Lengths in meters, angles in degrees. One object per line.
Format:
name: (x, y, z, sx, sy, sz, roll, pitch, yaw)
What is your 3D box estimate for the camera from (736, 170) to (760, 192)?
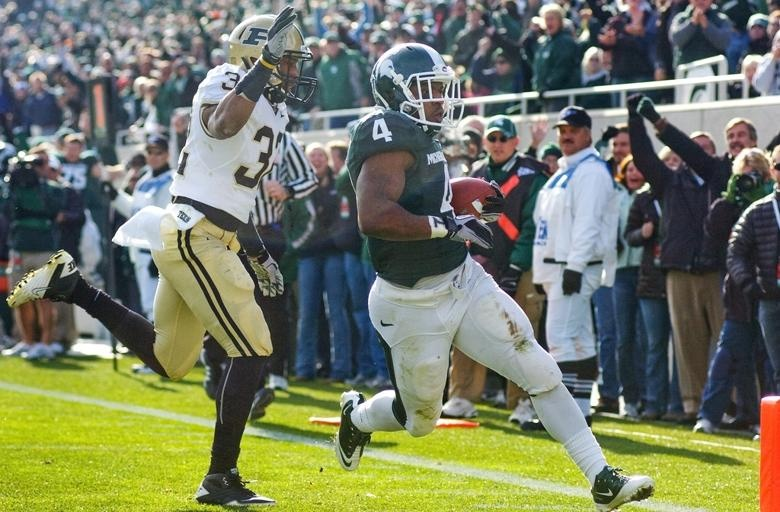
camera: (3.445, -0.728, 12.229, 0.267, 0.198, 0.205, 3, -1, -5)

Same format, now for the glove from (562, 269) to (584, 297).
glove: (1.738, 0.244, 12.183, 0.266, 0.236, 0.081, 2, 8, 7)

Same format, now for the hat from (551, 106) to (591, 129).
hat: (1.791, -1.362, 12.403, 0.206, 0.138, 0.292, 0, -8, 44)

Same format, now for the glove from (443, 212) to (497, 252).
glove: (0.647, -0.184, 10.133, 0.382, 0.174, 0.221, 19, 26, -22)

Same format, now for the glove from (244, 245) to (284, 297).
glove: (-0.998, 0.133, 10.856, 0.189, 0.531, 0.229, -31, 3, -26)

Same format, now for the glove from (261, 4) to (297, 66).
glove: (-0.869, -1.759, 10.195, 0.256, 0.373, 0.166, 4, -2, -21)

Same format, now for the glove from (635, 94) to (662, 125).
glove: (2.391, -1.357, 11.875, 0.110, 0.273, 0.174, -32, 21, 35)

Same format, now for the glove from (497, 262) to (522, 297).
glove: (1.225, 0.206, 12.798, 0.139, 0.388, 0.161, 24, 5, 8)

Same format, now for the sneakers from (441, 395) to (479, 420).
sneakers: (0.696, 1.545, 13.011, 0.500, 0.203, 0.171, 4, -11, -13)

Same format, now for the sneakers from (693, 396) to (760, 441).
sneakers: (3.195, 1.632, 12.372, 0.686, 0.242, 0.220, -4, 3, -2)
